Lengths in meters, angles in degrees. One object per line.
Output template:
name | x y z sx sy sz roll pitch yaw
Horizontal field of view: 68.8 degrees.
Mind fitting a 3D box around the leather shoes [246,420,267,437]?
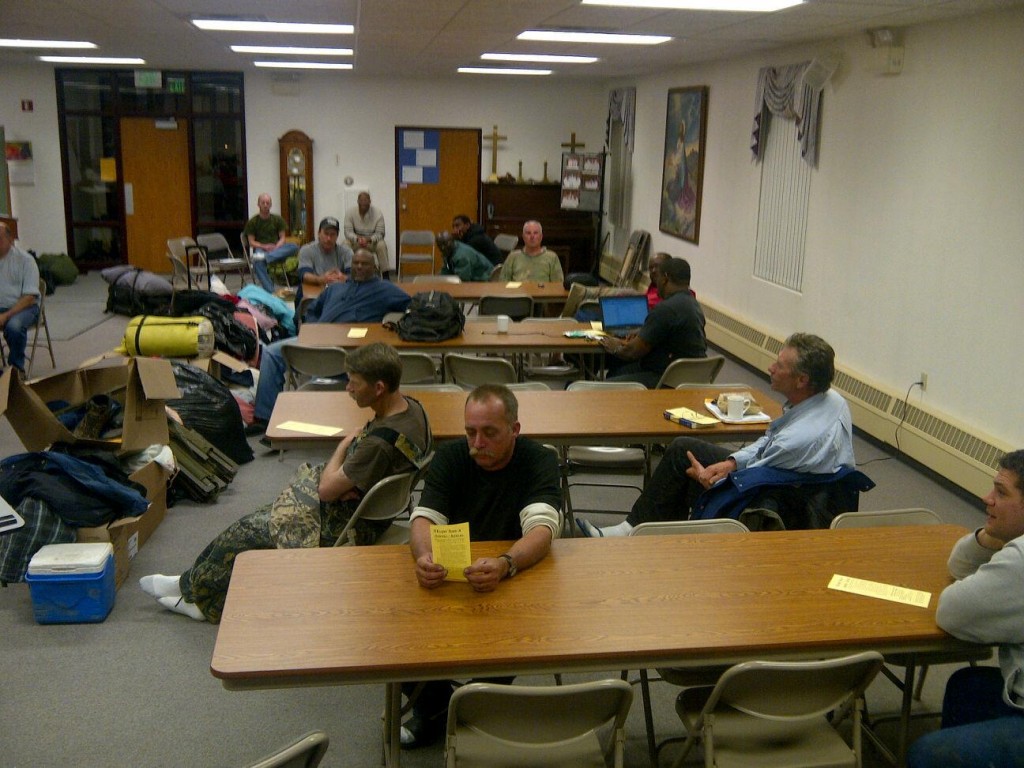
leather shoes | -2.233 0.374 6.361 0.290 0.146 0.114 1 4 -26

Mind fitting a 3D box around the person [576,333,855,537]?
person | 1.043 0.319 3.913 1.326 1.118 0.614 2 0 17

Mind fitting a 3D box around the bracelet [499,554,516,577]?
bracelet | -0.009 0.637 2.693 0.046 0.077 0.072 -10 20 -28

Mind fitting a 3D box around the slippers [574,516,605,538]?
slippers | 0.405 0.737 3.863 0.092 0.126 0.296 -9 -10 -7

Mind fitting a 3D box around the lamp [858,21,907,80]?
lamp | 3.027 -2.739 6.176 0.253 0.370 0.501 -1 16 -5

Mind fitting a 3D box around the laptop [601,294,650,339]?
laptop | 0.954 -0.605 6.358 0.402 0.321 0.306 -1 7 -9

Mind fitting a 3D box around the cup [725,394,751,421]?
cup | 1.315 0.135 4.356 0.091 0.164 0.149 3 7 39

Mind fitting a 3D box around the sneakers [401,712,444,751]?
sneakers | -0.371 1.427 3.102 0.213 0.098 0.089 1 7 -26

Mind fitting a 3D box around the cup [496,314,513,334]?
cup | -0.040 -0.523 6.346 0.150 0.191 0.155 3 17 -1
